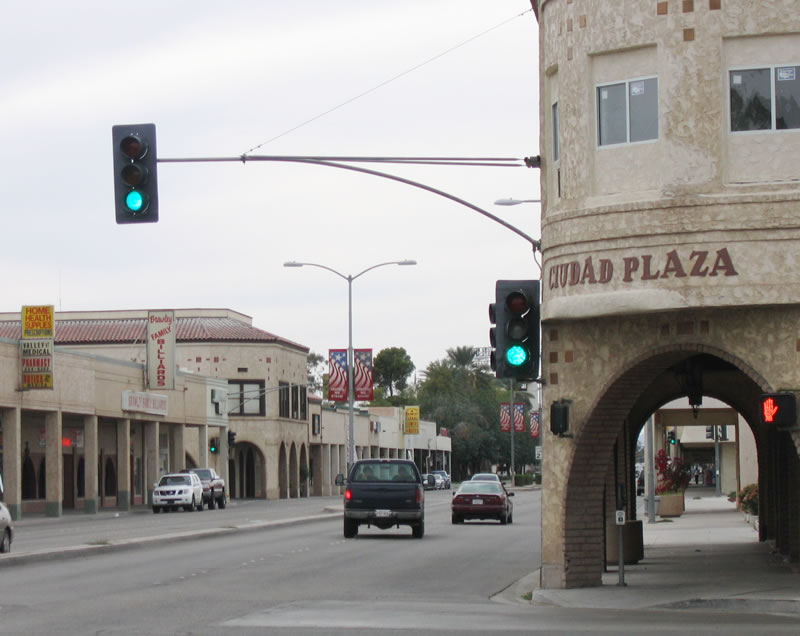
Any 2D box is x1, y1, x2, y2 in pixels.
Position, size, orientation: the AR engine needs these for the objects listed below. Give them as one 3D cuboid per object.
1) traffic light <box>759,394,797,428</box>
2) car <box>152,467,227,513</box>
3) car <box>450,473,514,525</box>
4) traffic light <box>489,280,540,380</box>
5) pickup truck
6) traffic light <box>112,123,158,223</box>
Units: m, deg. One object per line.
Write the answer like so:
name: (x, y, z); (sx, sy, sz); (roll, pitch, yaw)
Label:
traffic light: (5.934, 1.473, 22.564); (0.560, 0.667, 0.460); (-1, -3, 8)
car: (-9.432, 7.591, 63.512); (2.883, 2.253, 3.360); (-1, -8, 1)
car: (2.758, 6.261, 48.116); (1.807, 1.544, 2.188); (-4, -8, 11)
traffic light: (1.894, 0.187, 23.609); (0.806, 1.673, 0.410); (-2, -7, 5)
pickup truck: (-0.445, 5.026, 39.338); (2.184, 2.173, 3.908); (0, -9, 0)
traffic light: (-4.350, -2.387, 23.365); (0.707, 1.678, 0.239); (1, -7, -17)
